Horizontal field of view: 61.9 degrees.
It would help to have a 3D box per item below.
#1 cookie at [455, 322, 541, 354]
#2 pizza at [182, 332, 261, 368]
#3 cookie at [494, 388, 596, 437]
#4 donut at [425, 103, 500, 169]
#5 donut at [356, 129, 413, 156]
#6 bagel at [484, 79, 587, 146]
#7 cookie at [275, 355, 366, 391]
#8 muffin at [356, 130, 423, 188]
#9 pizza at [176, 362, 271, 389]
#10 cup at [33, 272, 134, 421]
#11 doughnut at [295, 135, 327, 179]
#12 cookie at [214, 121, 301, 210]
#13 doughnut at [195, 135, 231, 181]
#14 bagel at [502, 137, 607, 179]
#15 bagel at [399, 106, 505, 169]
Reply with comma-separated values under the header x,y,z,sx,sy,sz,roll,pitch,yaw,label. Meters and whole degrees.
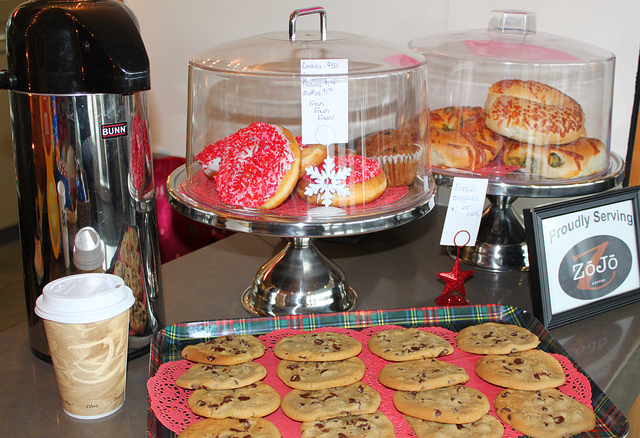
x,y,z,sx,sy,sz,roll,pitch,yaw,label
0.376,0.252,1.140,0.083,0.014,0.084,-8,12,-14,cookie
-0.204,0.270,1.102,0.156,0.025,0.085,-8,18,-18,pizza
0.414,0.353,0.988,0.170,0.033,0.108,0,18,10,cookie
0.379,-0.223,1.421,0.205,0.149,0.168,9,21,33,donut
0.142,-0.173,1.189,0.078,0.030,0.092,-1,10,41,donut
0.533,-0.264,1.332,0.199,0.067,0.191,8,34,-2,bagel
-0.027,0.312,1.105,0.171,0.026,0.187,1,3,-15,cookie
0.158,-0.129,1.194,0.133,0.099,0.134,-2,3,0,muffin
-0.194,0.303,1.057,0.166,0.029,0.069,-4,17,-4,pizza
-0.439,0.240,1.009,0.181,0.236,0.185,1,11,0,cup
-0.016,-0.121,1.116,0.060,0.066,0.032,-1,18,6,doughnut
-0.132,-0.112,1.136,0.186,0.163,0.118,-1,17,4,cookie
-0.237,-0.134,1.224,0.057,0.098,0.074,13,27,33,doughnut
0.599,-0.152,1.336,0.269,0.093,0.079,-3,17,-2,bagel
0.366,-0.210,1.387,0.206,0.068,0.203,-20,31,-18,bagel
